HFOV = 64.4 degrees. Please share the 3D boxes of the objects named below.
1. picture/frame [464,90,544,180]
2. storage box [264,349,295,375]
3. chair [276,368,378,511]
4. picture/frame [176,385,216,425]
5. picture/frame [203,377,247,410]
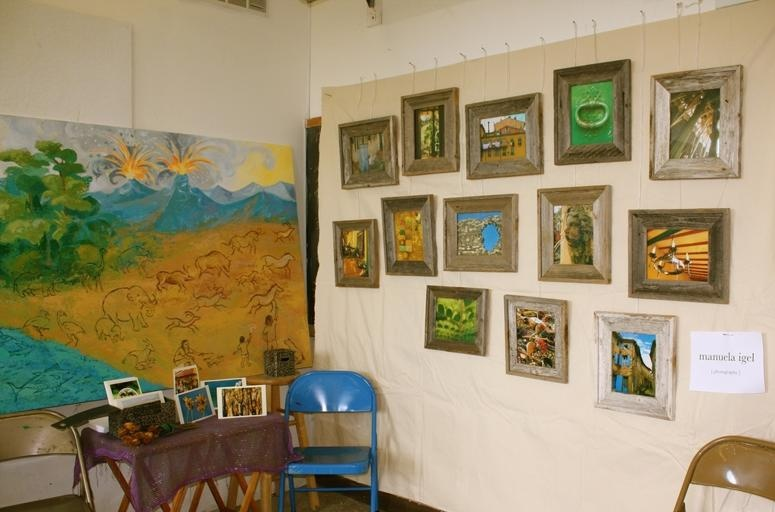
[{"bbox_3d":[0.798,-0.808,4.087,0.594,0.612,0.047,0,2,32],"label":"picture/frame"},{"bbox_3d":[-0.802,0.811,4.658,0.236,0.243,0.177,3,-2,-44],"label":"storage box"},{"bbox_3d":[-0.395,1.363,4.666,0.866,1.347,0.945,-1,-11,2],"label":"chair"},{"bbox_3d":[-1.295,1.014,4.138,0.017,0.221,0.250,-20,-11,33],"label":"picture/frame"},{"bbox_3d":[-1.113,0.960,4.229,0.204,0.151,0.010,-1,-28,-11],"label":"picture/frame"}]
